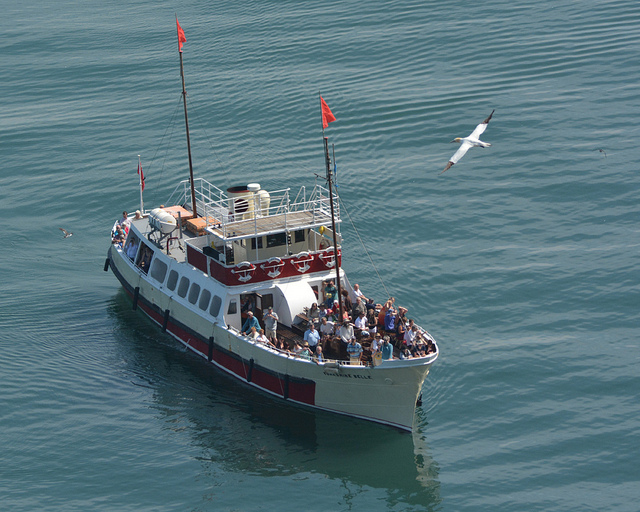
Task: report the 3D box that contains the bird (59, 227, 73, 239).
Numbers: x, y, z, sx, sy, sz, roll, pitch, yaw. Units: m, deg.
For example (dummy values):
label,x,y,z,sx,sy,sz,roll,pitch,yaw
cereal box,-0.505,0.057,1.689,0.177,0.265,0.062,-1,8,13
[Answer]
label,x,y,z,sx,sy,sz,roll,pitch,yaw
bird,-20.280,-2.010,105.861,0.694,0.653,1.131,-12,43,-15

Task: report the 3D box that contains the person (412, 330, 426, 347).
label,x,y,z,sx,sy,sz,roll,pitch,yaw
person,6.279,5.185,85.738,0.378,0.471,1.412,2,24,14

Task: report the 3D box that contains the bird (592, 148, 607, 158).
label,x,y,z,sx,sy,sz,roll,pitch,yaw
bird,22.815,-8.502,107.792,1.260,0.324,0.467,32,61,21

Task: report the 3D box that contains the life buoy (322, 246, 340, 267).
label,x,y,z,sx,sy,sz,roll,pitch,yaw
life buoy,0.732,0.050,90.542,1.481,1.194,0.195,3,8,-25
